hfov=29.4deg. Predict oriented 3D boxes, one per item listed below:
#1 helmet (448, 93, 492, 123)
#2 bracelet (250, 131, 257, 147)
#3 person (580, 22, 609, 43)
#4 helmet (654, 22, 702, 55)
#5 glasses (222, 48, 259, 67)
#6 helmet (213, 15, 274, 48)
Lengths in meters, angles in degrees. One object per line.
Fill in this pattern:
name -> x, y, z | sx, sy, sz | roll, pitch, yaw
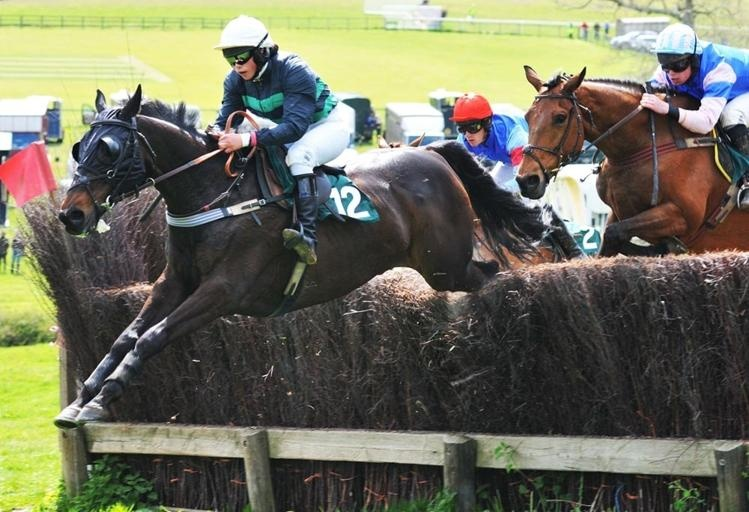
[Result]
helmet -> 0.962, -1.501, 14.377 | 0.381, 0.192, 0.280 | -8, 5, -44
bracelet -> -1.082, -1.041, 12.709 | 0.069, 0.132, 0.049 | 0, 8, 9
person -> 6.043, -6.184, 39.420 | 0.929, 0.702, 0.203 | -2, -2, 3
helmet -> 2.888, -2.073, 13.598 | 0.431, 0.296, 0.276 | 1, 8, 10
glasses -> -1.204, -1.778, 12.676 | 0.176, 0.097, 0.208 | -13, 11, 23
helmet -> -1.186, -2.026, 12.764 | 0.407, 0.214, 0.511 | 16, 22, 42
